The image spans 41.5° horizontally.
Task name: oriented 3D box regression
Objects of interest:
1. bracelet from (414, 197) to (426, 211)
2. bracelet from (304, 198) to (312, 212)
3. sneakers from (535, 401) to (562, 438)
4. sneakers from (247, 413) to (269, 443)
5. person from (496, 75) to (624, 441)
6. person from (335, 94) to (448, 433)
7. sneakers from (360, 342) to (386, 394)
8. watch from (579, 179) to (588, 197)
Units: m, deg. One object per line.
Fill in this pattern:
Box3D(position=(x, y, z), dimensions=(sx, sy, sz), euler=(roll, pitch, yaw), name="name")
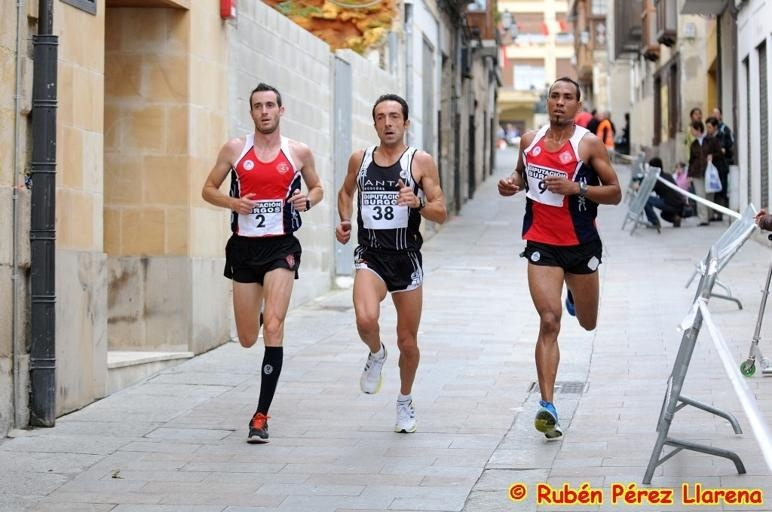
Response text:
Box3D(position=(0.292, -0.409, 8.055), dimensions=(0.076, 0.125, 0.114), euler=(2, 4, -6), name="bracelet")
Box3D(position=(-0.647, -0.423, 8.461), dimensions=(0.068, 0.090, 0.083), euler=(-4, 43, 0), name="bracelet")
Box3D(position=(1.263, 1.279, 7.941), dimensions=(0.204, 0.333, 0.287), euler=(0, 7, 15), name="sneakers")
Box3D(position=(-1.023, 1.357, 8.142), dimensions=(0.170, 0.230, 0.278), euler=(-2, 7, -8), name="sneakers")
Box3D(position=(1.382, -0.015, 8.214), dimensions=(0.867, 2.819, 0.783), euler=(-5, 7, -30), name="person")
Box3D(position=(0.040, 0.075, 8.198), dimensions=(0.857, 2.710, 0.619), euler=(-1, 6, 7), name="person")
Box3D(position=(-0.094, 0.981, 8.453), dimensions=(0.167, 0.478, 0.199), euler=(9, 4, -7), name="sneakers")
Box3D(position=(1.526, -0.512, 7.938), dimensions=(0.071, 0.118, 0.102), euler=(0, 9, 0), name="watch")
